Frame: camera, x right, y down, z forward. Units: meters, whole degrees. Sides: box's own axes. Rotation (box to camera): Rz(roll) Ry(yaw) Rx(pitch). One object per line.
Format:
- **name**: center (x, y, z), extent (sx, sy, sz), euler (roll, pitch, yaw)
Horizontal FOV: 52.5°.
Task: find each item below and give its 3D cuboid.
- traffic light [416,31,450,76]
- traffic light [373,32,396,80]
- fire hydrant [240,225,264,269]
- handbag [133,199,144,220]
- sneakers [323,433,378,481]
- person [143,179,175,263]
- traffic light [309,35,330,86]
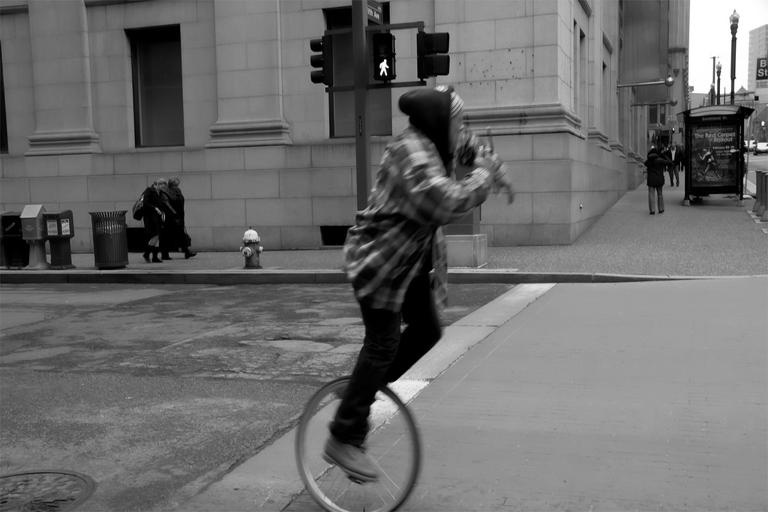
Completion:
- **traffic light**: center (0.952, -3.892, 14.999), extent (0.567, 0.902, 0.582), euler (0, 12, 6)
- **traffic light**: center (0.005, -3.841, 14.954), extent (0.403, 0.948, 0.354), euler (-2, 12, -6)
- **fire hydrant**: center (-2.814, -0.129, 16.694), extent (0.420, 0.842, 0.817), euler (-3, 12, -11)
- **handbag**: center (-5.788, -1.134, 18.510), extent (0.153, 0.479, 0.342), euler (11, -16, -28)
- **sneakers**: center (-0.274, 1.663, 6.459), extent (0.483, 0.257, 0.263), euler (28, 4, 15)
- **person**: center (-5.365, -0.826, 18.617), extent (0.721, 1.964, 0.910), euler (-5, 12, -21)
- **traffic light**: center (-1.245, -3.924, 15.615), extent (0.417, 0.971, 0.986), euler (-2, 12, -4)
